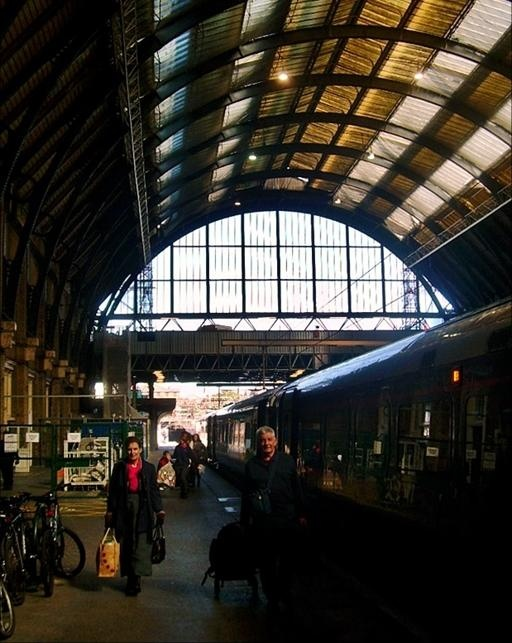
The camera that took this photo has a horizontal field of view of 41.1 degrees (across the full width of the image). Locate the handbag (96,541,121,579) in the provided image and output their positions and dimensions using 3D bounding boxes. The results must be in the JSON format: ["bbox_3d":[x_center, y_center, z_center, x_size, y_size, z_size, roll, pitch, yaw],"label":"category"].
[{"bbox_3d":[-1.565,2.518,7.287,0.238,0.384,0.160,2,-9,-14],"label":"handbag"}]

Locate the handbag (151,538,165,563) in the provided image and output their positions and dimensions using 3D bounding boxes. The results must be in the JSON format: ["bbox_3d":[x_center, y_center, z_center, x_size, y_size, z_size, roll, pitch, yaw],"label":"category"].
[{"bbox_3d":[-1.057,2.451,7.357,0.139,0.336,0.321,3,-9,-6],"label":"handbag"}]

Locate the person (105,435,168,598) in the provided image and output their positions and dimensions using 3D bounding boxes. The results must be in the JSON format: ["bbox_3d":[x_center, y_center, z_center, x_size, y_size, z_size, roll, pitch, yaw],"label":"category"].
[{"bbox_3d":[-1.313,2.079,7.391,0.580,1.630,0.527,4,-9,-26],"label":"person"}]

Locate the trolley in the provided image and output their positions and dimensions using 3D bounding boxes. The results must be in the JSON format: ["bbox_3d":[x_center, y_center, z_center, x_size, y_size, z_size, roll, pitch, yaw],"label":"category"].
[{"bbox_3d":[-0.195,2.288,6.611,0.448,0.704,0.485,0,-15,-1],"label":"trolley"}]

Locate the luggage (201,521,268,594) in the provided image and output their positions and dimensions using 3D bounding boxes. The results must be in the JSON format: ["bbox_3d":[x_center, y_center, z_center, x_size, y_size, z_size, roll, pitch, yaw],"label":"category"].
[{"bbox_3d":[-0.221,2.371,6.873,0.454,0.720,0.500,-2,4,5],"label":"luggage"}]

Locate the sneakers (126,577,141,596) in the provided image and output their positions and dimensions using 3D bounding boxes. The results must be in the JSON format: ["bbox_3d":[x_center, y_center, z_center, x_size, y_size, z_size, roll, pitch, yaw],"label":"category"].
[{"bbox_3d":[-1.286,2.771,7.201,0.152,0.188,0.210,2,-9,-10],"label":"sneakers"}]
